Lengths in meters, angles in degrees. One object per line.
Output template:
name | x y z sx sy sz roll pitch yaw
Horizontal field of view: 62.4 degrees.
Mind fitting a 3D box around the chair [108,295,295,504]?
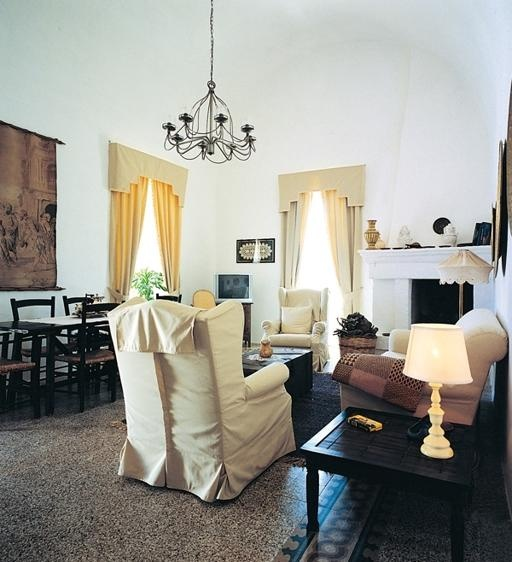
chair | -0.375 0.544 2.437 0.784 1.168 0.914 1 2 31

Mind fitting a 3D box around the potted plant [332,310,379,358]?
potted plant | 1.079 0.606 4.675 0.462 0.532 0.475 4 3 -38

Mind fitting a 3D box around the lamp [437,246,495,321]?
lamp | 1.820 0.146 3.703 0.387 0.884 0.418 1 7 21

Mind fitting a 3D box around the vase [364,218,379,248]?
vase | 1.594 -0.654 5.857 0.184 0.400 0.156 0 0 15

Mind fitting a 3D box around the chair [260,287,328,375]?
chair | 0.547 0.571 5.362 0.827 1.108 0.871 -5 -10 41

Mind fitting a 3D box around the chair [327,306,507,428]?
chair | 0.978 0.494 2.527 0.737 0.700 0.845 0 1 24

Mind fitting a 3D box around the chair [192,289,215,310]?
chair | -0.751 0.258 6.063 0.248 0.437 0.274 0 -1 -28

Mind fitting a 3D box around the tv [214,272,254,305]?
tv | -0.355 0.077 6.668 0.641 0.677 0.389 1 1 10

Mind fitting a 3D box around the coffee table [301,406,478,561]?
coffee table | 0.592 0.882 1.877 0.667 0.374 0.573 0 1 32

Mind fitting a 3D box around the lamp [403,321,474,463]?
lamp | 0.731 0.443 1.715 0.243 0.549 0.335 0 1 23

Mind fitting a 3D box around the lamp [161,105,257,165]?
lamp | -0.655 -2.024 5.710 1.145 0.956 1.320 7 13 20
